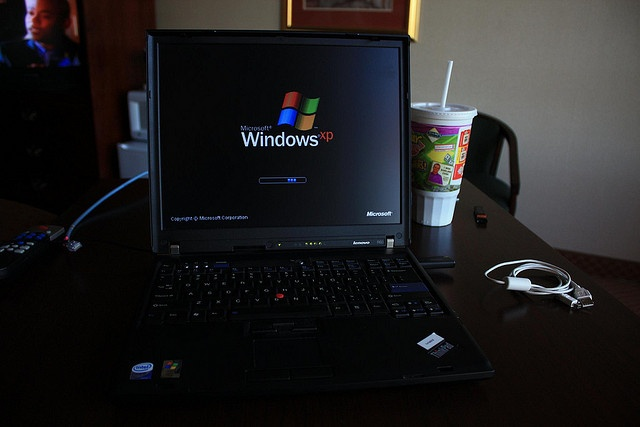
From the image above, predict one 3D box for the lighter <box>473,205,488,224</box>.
[{"bbox_3d":[0.400,0.004,1.190,0.019,0.015,0.062,-2,24,10],"label":"lighter"}]
